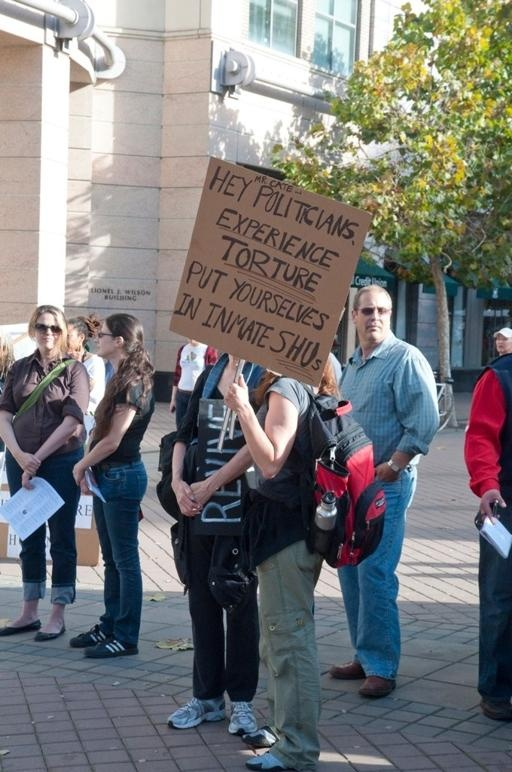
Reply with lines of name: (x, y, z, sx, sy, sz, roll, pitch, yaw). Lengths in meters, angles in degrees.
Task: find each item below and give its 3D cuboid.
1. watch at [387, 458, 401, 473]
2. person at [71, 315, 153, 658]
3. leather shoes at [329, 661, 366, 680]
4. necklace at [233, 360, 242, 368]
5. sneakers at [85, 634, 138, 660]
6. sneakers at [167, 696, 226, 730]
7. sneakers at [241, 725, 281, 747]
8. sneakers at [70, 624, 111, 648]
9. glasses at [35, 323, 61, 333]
watch: (0.645, 0.378, 3.821, 0.058, 0.056, 0.059, 36, 23, -13)
person: (-0.780, 0.518, 4.422, 0.421, 1.834, 0.490, 1, 4, -13)
leather shoes: (0.448, 1.401, 3.999, 0.201, 0.071, 0.065, 4, -2, -5)
necklace: (-0.073, -0.087, 3.137, 0.020, 0.025, 0.036, 28, -33, -14)
sneakers: (-0.761, 1.379, 4.267, 0.235, 0.083, 0.102, 4, -5, -10)
sneakers: (-0.238, 1.358, 3.361, 0.264, 0.110, 0.091, 3, 0, -30)
sneakers: (0.026, 1.346, 3.120, 0.151, 0.057, 0.064, -1, 39, 9)
sneakers: (-0.892, 1.387, 4.480, 0.231, 0.090, 0.101, 6, 1, -35)
glasses: (-1.220, -0.338, 4.785, 0.147, 0.055, 0.050, 1, 3, -11)
